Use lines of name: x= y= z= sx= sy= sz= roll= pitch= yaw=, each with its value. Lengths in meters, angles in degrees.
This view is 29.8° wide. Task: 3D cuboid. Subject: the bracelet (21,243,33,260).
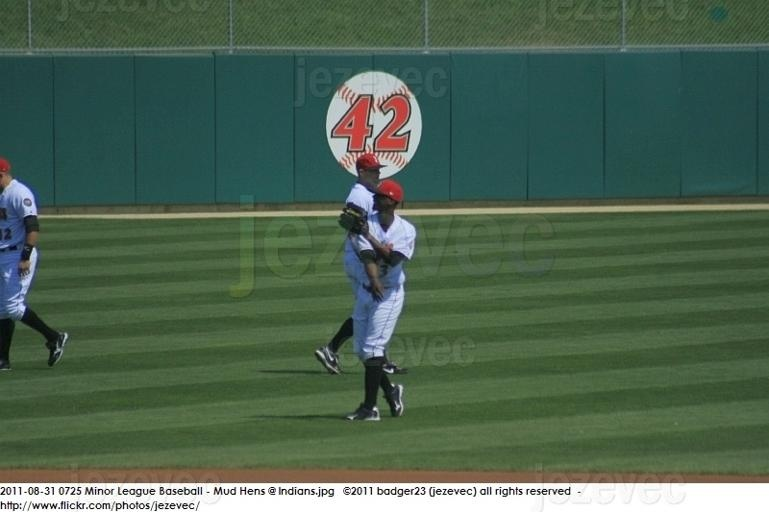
bracelet: x=-5.013 y=-0.042 z=20.373 sx=0.152 sy=0.232 sz=0.071 roll=1 pitch=1 yaw=-13

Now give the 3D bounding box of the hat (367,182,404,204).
hat: x=0.027 y=-0.848 z=19.125 sx=0.378 sy=0.205 sz=0.269 roll=19 pitch=12 yaw=-2

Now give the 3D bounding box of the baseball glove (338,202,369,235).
baseball glove: x=-0.403 y=-0.510 z=19.078 sx=0.321 sy=0.168 sz=0.391 roll=21 pitch=-13 yaw=33

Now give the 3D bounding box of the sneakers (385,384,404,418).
sneakers: x=0.169 y=1.914 z=19.263 sx=0.218 sy=0.477 sz=0.176 roll=-11 pitch=1 yaw=-42

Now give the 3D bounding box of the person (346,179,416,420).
person: x=-0.050 y=0.596 z=19.191 sx=0.821 sy=3.155 sz=0.381 roll=1 pitch=1 yaw=-1

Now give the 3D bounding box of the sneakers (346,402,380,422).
sneakers: x=-0.272 y=2.084 z=19.182 sx=0.388 sy=0.175 sz=0.201 roll=1 pitch=-1 yaw=0

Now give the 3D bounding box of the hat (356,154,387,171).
hat: x=-0.200 y=-1.238 z=20.292 sx=0.448 sy=0.231 sz=0.305 roll=-2 pitch=14 yaw=5

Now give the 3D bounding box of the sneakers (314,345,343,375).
sneakers: x=-0.784 y=1.466 z=20.391 sx=0.242 sy=0.521 sz=0.208 roll=-37 pitch=23 yaw=2

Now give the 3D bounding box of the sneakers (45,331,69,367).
sneakers: x=-4.623 y=1.322 z=20.540 sx=0.282 sy=0.571 sz=0.205 roll=12 pitch=0 yaw=-39
